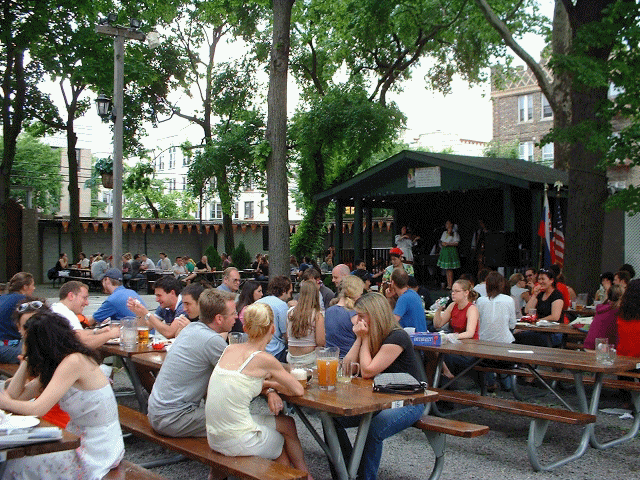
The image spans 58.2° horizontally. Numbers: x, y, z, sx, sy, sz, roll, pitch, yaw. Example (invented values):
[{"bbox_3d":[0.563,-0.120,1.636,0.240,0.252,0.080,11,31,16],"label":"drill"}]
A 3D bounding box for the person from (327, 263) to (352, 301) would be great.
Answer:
[{"bbox_3d":[0.354,0.683,9.853,0.481,0.765,0.450,3,0,22],"label":"person"}]

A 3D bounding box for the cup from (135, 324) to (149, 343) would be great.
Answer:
[{"bbox_3d":[-2.137,1.126,6.913,0.165,0.190,0.177,0,-13,0],"label":"cup"}]

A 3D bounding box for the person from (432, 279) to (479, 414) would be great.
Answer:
[{"bbox_3d":[1.899,1.351,8.039,0.796,1.484,0.520,-4,1,-24],"label":"person"}]

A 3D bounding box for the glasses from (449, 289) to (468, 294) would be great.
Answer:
[{"bbox_3d":[1.964,0.716,7.948,0.237,0.075,0.111,0,0,0],"label":"glasses"}]

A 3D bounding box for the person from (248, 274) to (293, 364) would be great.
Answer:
[{"bbox_3d":[-0.580,1.191,7.858,0.587,1.383,0.743,5,10,28],"label":"person"}]

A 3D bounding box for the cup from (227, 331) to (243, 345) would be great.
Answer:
[{"bbox_3d":[-0.782,0.933,5.537,0.118,0.138,0.192,-3,-4,41],"label":"cup"}]

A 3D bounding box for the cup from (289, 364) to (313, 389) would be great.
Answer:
[{"bbox_3d":[-0.161,1.231,5.213,0.204,0.179,0.129,2,-6,-20],"label":"cup"}]

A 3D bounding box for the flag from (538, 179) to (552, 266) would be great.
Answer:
[{"bbox_3d":[5.525,-0.345,14.030,0.314,1.966,1.008,0,0,21],"label":"flag"}]

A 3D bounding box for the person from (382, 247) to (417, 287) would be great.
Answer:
[{"bbox_3d":[1.646,0.623,12.228,0.690,0.971,0.588,9,28,30],"label":"person"}]

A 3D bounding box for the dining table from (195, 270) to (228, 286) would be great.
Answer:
[{"bbox_3d":[-3.272,1.109,17.141,0.858,0.217,0.840,1,2,31],"label":"dining table"}]

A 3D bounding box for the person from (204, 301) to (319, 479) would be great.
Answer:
[{"bbox_3d":[-0.545,1.258,4.903,0.848,1.446,0.389,0,0,-14],"label":"person"}]

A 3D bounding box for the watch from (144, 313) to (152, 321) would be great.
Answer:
[{"bbox_3d":[-2.145,0.957,7.119,0.072,0.078,0.050,23,24,32],"label":"watch"}]

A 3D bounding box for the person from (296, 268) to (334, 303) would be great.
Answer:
[{"bbox_3d":[-0.002,0.838,9.539,0.413,0.747,0.824,-10,-10,0],"label":"person"}]

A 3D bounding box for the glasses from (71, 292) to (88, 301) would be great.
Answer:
[{"bbox_3d":[-3.077,0.713,7.277,0.114,0.098,0.093,-11,-7,19],"label":"glasses"}]
